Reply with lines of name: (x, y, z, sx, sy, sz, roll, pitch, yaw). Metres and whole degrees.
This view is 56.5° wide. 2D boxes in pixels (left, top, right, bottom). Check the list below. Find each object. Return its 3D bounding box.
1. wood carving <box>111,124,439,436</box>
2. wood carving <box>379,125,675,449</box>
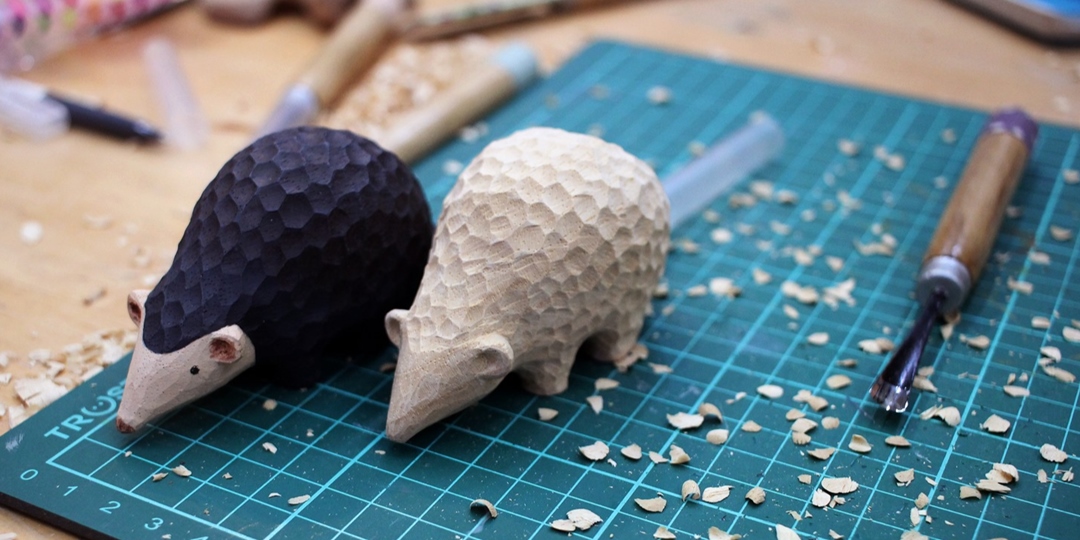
wood carving: (-0.435, -0.014, 1.930, 0.700, 0.423, 0.378, -32, 61, -19)
wood carving: (-0.039, 0.020, 1.971, 0.459, 0.500, 0.747, 14, 42, 15)
